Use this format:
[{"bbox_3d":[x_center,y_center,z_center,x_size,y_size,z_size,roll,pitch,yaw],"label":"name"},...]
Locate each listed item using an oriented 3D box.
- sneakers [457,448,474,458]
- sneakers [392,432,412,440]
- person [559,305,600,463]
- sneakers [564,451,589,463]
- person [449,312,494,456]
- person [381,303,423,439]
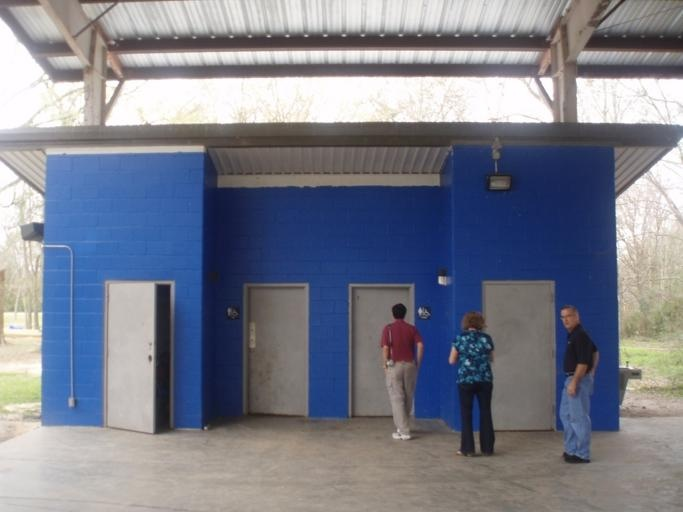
[{"bbox_3d":[2.026,3.168,11.666,0.246,0.114,0.098,-3,-5,21],"label":"sneakers"},{"bbox_3d":[1.038,3.079,12.416,0.221,0.097,0.154,3,-10,8],"label":"sneakers"},{"bbox_3d":[3.767,1.989,11.383,0.624,2.452,0.438,-4,-7,17],"label":"person"},{"bbox_3d":[3.728,3.143,11.320,0.319,0.147,0.155,9,-2,9],"label":"sneakers"},{"bbox_3d":[2.161,2.039,11.676,0.670,2.306,0.365,-3,-7,11],"label":"person"},{"bbox_3d":[1.067,1.971,12.462,0.691,2.308,0.290,-2,-7,3],"label":"person"}]
